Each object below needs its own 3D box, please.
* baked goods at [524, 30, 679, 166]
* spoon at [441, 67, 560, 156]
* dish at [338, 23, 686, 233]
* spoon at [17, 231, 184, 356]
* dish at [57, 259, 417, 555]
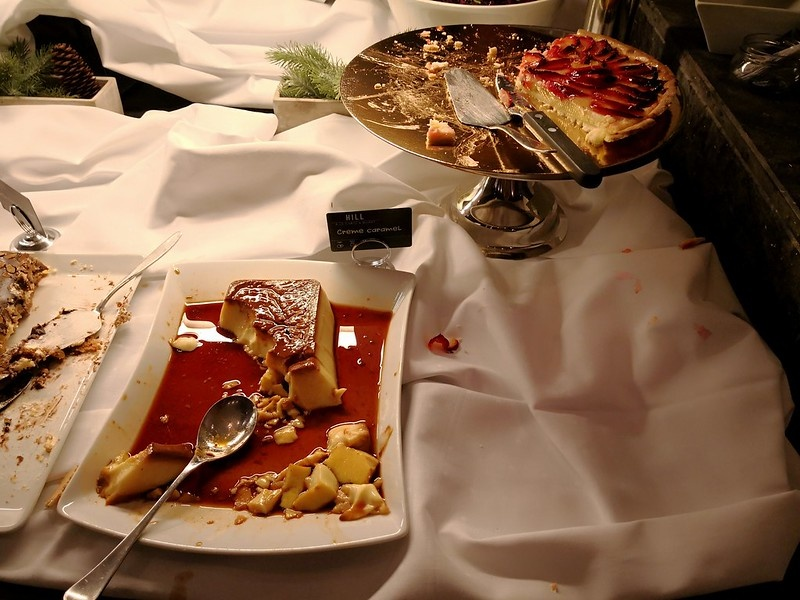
[{"bbox_3d":[0.534,-0.498,1.682,0.328,0.113,0.420,-22,62,-6],"label":"baked goods"},{"bbox_3d":[0.239,-0.470,1.550,0.114,0.035,0.449,-15,44,-20],"label":"spoon"},{"bbox_3d":[0.328,-0.464,1.970,0.888,0.984,0.379,-1,93,17],"label":"dish"},{"bbox_3d":[-0.660,-0.038,1.515,0.099,0.051,0.503,28,50,14],"label":"spoon"},{"bbox_3d":[-0.295,0.178,1.324,0.638,0.122,0.669,-3,52,7],"label":"dish"}]
